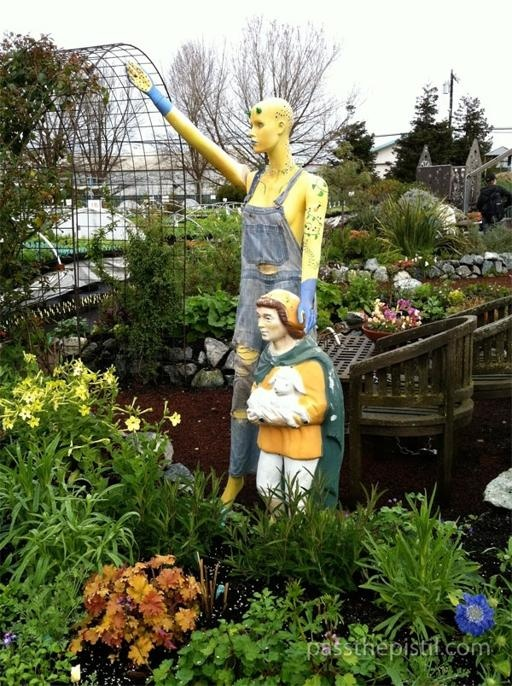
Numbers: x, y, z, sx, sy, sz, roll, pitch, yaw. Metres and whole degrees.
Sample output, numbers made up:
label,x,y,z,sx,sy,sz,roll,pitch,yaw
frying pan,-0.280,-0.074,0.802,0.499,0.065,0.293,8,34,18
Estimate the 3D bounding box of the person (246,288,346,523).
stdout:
label,x,y,z,sx,sy,sz,roll,pitch,yaw
person,0.164,0.263,2.333,0.409,0.953,0.432,1,6,5
